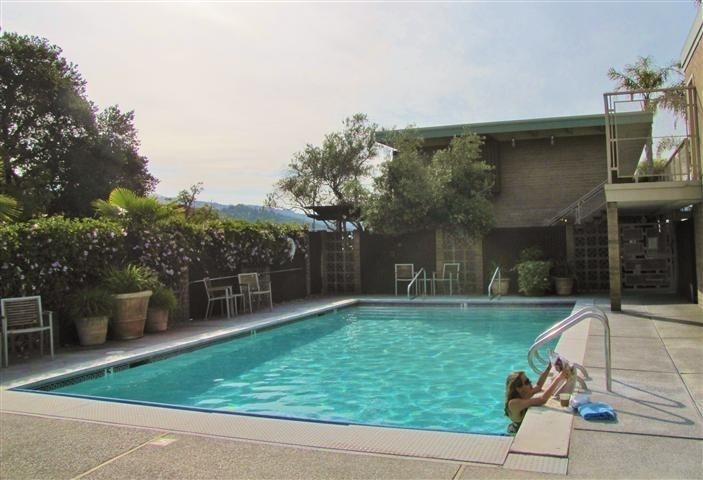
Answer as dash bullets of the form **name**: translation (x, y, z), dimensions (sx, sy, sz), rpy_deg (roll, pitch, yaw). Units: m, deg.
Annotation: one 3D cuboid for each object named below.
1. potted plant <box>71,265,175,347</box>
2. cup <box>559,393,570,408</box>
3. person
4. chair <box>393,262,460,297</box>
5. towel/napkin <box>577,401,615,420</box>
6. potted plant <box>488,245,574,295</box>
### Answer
- **potted plant**: translation (-4.761, 1.353, 9.540), dimensions (1.318, 1.333, 1.900), rpy_deg (-9, -3, 35)
- **cup**: translation (2.504, 1.897, 5.501), dimensions (0.133, 0.115, 0.126), rpy_deg (-3, -2, 0)
- **person**: translation (2.220, 1.880, 5.641), dimensions (0.768, 0.831, 0.427), rpy_deg (-1, 1, -22)
- **chair**: translation (2.670, 1.374, 16.321), dimensions (2.381, 1.150, 1.453), rpy_deg (-1, 0, 4)
- **towel/napkin**: translation (2.795, 1.942, 5.276), dimensions (0.430, 0.123, 0.284), rpy_deg (-1, 0, 4)
- **potted plant**: translation (5.922, 1.036, 15.286), dimensions (2.442, 1.606, 1.141), rpy_deg (-1, 0, 25)
